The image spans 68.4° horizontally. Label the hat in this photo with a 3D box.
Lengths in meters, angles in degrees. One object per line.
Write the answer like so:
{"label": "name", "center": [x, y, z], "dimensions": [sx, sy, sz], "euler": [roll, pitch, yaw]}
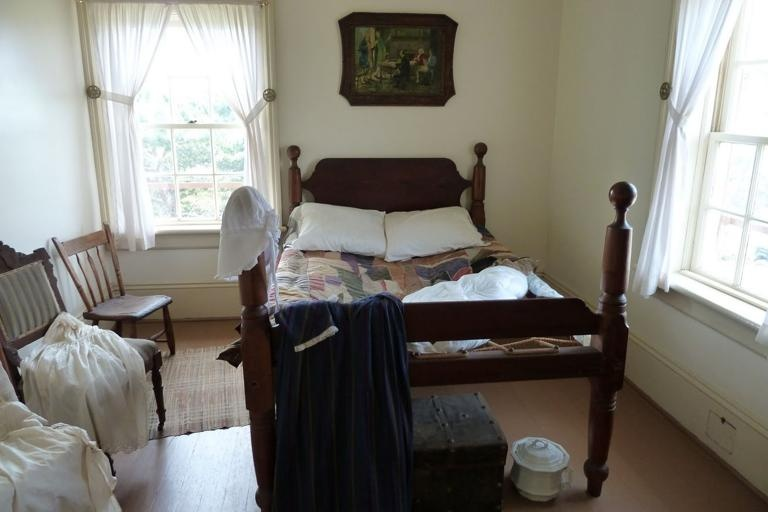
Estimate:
{"label": "hat", "center": [-0.702, -0.101, 2.885], "dimensions": [0.331, 0.480, 0.230], "euler": [-7, 21, -13]}

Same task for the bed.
{"label": "bed", "center": [0.213, 0.007, 4.252], "dimensions": [1.864, 1.876, 2.850], "euler": [-2, 14, -7]}

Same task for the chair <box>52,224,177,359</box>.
{"label": "chair", "center": [-2.095, 0.248, 4.331], "dimensions": [0.678, 1.129, 0.596], "euler": [10, 24, 12]}

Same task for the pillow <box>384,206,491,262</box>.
{"label": "pillow", "center": [0.376, -0.184, 4.626], "dimensions": [0.618, 0.178, 0.468], "euler": [-9, 41, 1]}
